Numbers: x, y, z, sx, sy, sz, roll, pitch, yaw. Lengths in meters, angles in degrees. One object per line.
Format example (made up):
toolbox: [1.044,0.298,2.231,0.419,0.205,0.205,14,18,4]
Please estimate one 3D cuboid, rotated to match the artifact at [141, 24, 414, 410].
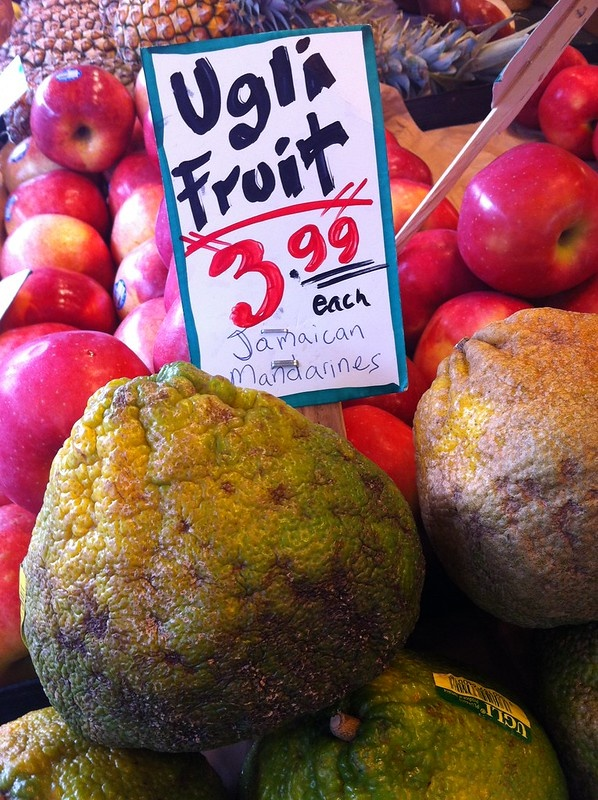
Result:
artifact: [-0.024,-0.256,1.025,0.311,0.339,0.435,-8,56,8]
